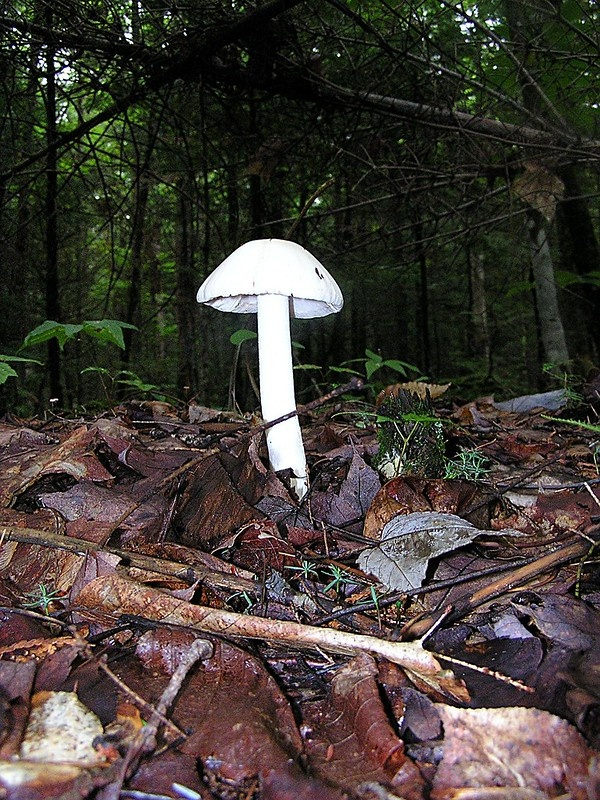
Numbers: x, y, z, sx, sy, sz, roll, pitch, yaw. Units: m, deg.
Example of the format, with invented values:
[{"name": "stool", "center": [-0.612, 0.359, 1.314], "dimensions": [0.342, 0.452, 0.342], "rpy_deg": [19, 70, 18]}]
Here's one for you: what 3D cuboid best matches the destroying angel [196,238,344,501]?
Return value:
[{"name": "destroying angel", "center": [-0.140, -0.154, 3.312], "dimensions": [0.699, 0.999, 1.089], "rpy_deg": [-2, 1, 3]}]
